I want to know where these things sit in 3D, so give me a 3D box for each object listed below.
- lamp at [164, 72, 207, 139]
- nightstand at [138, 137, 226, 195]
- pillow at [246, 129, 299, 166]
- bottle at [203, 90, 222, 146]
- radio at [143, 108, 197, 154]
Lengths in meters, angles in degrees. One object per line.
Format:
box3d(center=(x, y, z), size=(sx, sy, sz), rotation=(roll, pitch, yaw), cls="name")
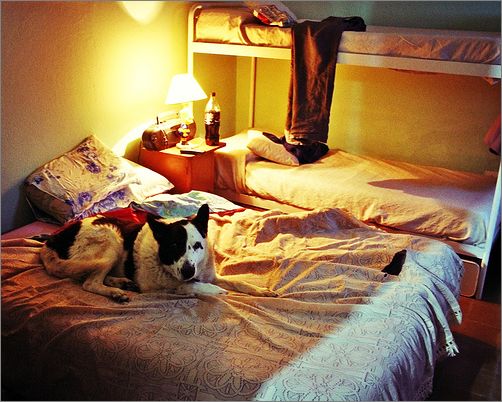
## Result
box3d(center=(-0.609, -0.933, 3.931), size=(0.457, 0.666, 0.526), rotation=(16, 26, 30), cls="lamp")
box3d(center=(-0.660, -0.364, 3.730), size=(0.575, 0.465, 0.610), rotation=(13, 17, 36), cls="nightstand")
box3d(center=(0.162, -0.528, 3.992), size=(0.491, 0.310, 0.581), rotation=(-13, 25, -38), cls="pillow")
box3d(center=(-0.390, -0.823, 4.003), size=(0.210, 0.542, 0.215), rotation=(2, 26, -1), cls="bottle")
box3d(center=(-0.785, -0.654, 3.796), size=(0.297, 0.249, 0.504), rotation=(9, 27, 25), cls="radio")
